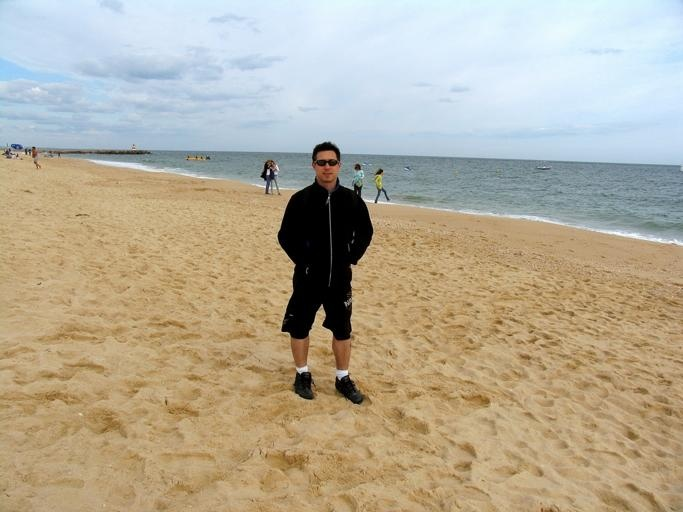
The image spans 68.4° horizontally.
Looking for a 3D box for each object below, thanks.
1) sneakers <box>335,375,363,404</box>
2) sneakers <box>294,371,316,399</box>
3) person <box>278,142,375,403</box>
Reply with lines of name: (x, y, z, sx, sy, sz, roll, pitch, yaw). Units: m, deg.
sneakers: (0.084, 1.422, 5.335, 0.161, 0.165, 0.422, -25, 39, -38)
sneakers: (-0.364, 1.377, 5.250, 0.141, 0.127, 0.351, 3, 0, -12)
person: (-0.173, 0.228, 5.035, 0.943, 2.647, 0.407, 4, 17, -6)
